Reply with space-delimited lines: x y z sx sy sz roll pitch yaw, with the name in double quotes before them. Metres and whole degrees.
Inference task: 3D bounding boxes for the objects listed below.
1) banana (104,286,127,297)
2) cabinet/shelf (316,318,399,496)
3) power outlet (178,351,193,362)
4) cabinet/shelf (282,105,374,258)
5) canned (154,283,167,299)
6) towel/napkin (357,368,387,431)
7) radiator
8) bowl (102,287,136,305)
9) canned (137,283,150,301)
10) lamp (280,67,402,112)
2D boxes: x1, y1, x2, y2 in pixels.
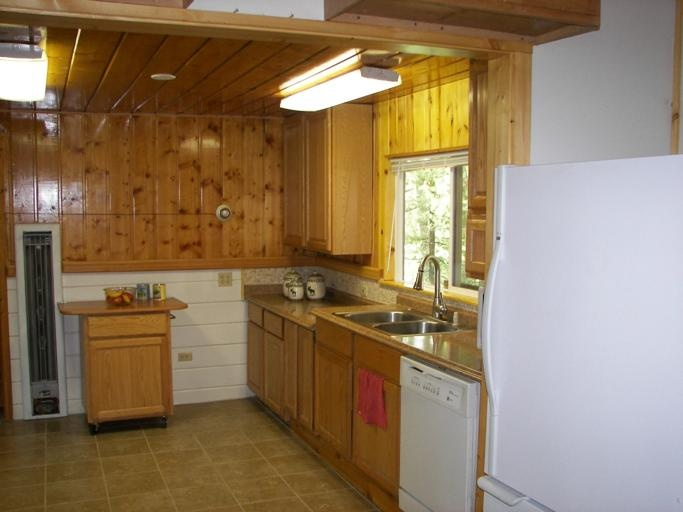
"banana" -1.863 0.315 4.476 0.188 0.080 0.140 -3 6 -30
"cabinet/shelf" 0.115 0.973 3.437 0.414 0.882 1.049 -2 8 -22
"power outlet" -1.488 0.964 5.129 0.162 0.102 0.081 1 5 -18
"cabinet/shelf" -0.115 -0.626 4.763 0.384 1.309 0.961 -3 7 -31
"canned" -1.604 0.313 4.766 0.131 0.138 0.127 2 7 1
"towel/napkin" 0.194 0.864 3.259 0.103 0.379 0.436 -2 3 -16
"radiator" -2.641 0.577 4.731 0.350 1.706 0.160 -3 7 -29
"bowl" -1.834 0.335 4.498 0.169 0.091 0.182 0 1 0
"canned" -1.751 0.322 4.770 0.138 0.176 0.133 0 8 -15
"lamp" -0.024 -1.084 3.534 0.272 0.099 1.041 -3 6 -31
